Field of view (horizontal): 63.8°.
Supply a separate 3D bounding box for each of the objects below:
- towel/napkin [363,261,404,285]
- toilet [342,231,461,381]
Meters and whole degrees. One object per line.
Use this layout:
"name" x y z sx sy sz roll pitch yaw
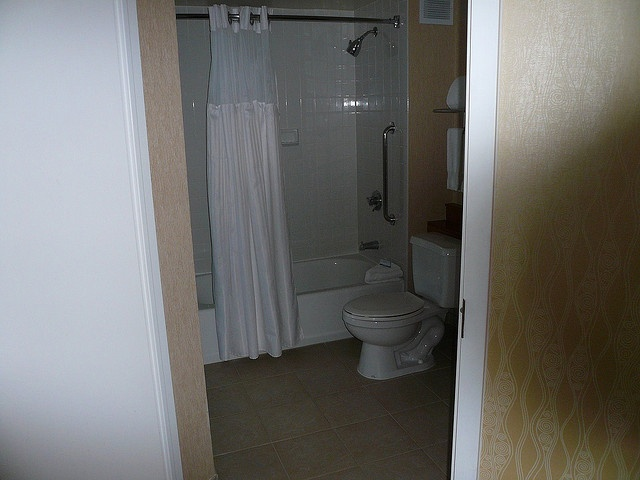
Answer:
"towel/napkin" 0.457 0.244 3.787 0.167 0.061 0.176 -6 12 -11
"toilet" 0.549 0.427 3.594 0.922 1.096 0.592 -2 8 -17
